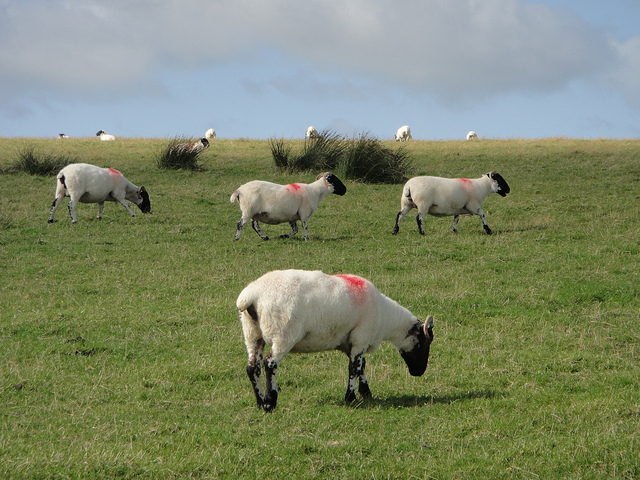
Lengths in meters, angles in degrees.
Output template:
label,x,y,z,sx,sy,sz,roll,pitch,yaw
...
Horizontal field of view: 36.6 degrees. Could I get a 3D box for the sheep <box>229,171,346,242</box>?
label,x,y,z,sx,sy,sz,roll,pitch,yaw
sheep,-1.286,-1.188,29.983,3.873,1.914,3.602,-3,9,-23
